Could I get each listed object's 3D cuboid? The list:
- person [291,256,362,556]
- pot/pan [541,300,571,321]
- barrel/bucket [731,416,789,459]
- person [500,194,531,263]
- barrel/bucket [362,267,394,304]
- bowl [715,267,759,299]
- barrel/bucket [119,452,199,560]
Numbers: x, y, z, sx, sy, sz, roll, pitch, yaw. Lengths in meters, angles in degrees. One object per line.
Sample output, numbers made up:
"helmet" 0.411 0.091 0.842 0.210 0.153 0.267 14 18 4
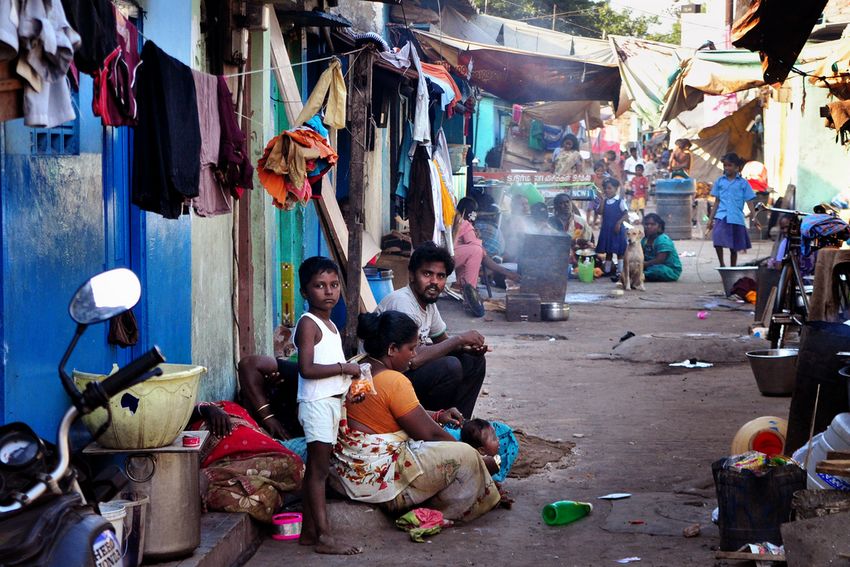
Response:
"person" -0.622 0.751 5.059 0.405 1.808 0.652 -2 8 -6
"pot/pan" 2.184 0.457 13.232 0.487 0.297 0.340 0 8 8
"barrel/bucket" 2.366 1.078 5.565 0.341 0.233 0.223 2 8 20
"person" 2.062 -1.287 18.086 0.557 1.348 1.019 19 16 15
"barrel/bucket" -0.632 -0.001 10.700 0.517 0.538 0.526 0 3 0
"bowl" 5.733 0.012 14.612 0.633 0.431 0.621 1 -4 0
"barrel/bucket" -1.332 1.254 4.520 0.542 0.574 0.538 0 -6 0
